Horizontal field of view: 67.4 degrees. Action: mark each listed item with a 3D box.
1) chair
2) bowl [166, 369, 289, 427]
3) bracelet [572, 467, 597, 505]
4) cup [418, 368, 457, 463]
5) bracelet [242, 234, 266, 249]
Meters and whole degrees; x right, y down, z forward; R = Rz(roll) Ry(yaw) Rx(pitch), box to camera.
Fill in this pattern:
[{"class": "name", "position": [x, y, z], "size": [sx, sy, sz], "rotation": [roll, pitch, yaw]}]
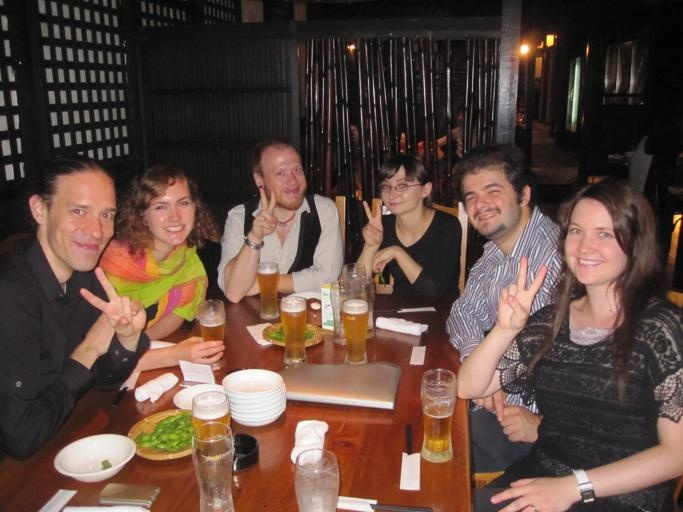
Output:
[{"class": "chair", "position": [0.478, -0.065, 3.126], "size": [0.471, 0.609, 0.559], "rotation": [9, 12, 43]}, {"class": "bowl", "position": [-0.307, 0.478, 1.751], "size": [0.203, 0.091, 0.282], "rotation": [-4, 10, -24]}, {"class": "bracelet", "position": [0.801, 0.758, 1.717], "size": [0.063, 0.103, 0.100], "rotation": [-14, -16, -1]}, {"class": "cup", "position": [0.305, 0.517, 1.623], "size": [0.104, 0.218, 0.146], "rotation": [2, 18, 9]}, {"class": "bracelet", "position": [-0.483, -0.064, 2.822], "size": [0.091, 0.079, 0.092], "rotation": [-3, 18, -5]}]
